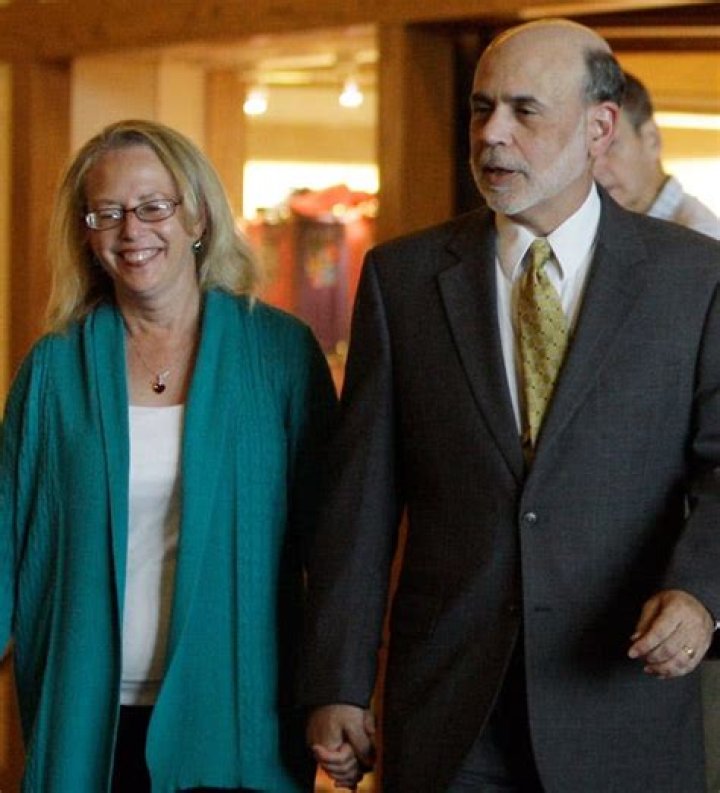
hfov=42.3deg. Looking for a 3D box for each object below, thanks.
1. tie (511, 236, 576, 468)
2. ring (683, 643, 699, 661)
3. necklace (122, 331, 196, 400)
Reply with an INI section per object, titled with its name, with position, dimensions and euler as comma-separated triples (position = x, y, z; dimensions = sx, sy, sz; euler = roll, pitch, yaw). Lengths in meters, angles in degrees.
[tie]
position = 0.292, -0.085, 1.506
dimensions = 0.018, 0.332, 0.092
euler = 19, -20, -38
[ring]
position = 0.438, 0.342, 1.237
dimensions = 0.023, 0.018, 0.003
euler = -5, 7, -30
[necklace]
position = -0.414, -0.057, 1.919
dimensions = 0.136, 0.124, 0.036
euler = 1, -13, 0
